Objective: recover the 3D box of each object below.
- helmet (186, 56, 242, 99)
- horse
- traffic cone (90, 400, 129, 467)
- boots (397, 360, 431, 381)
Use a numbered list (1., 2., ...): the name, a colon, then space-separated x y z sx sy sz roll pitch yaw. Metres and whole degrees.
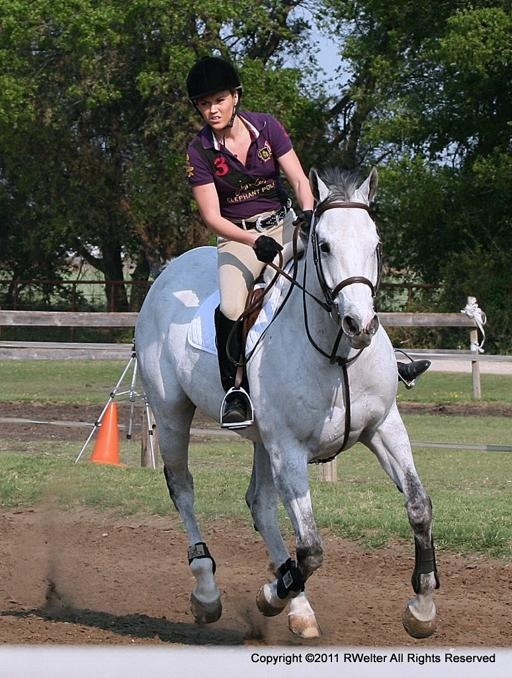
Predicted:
1. helmet: -0.228 -1.370 4.771 0.282 0.257 0.224 -2 4 -1
2. horse: 0.118 0.401 5.110 1.176 2.337 3.682 -3 2 -16
3. traffic cone: -1.567 0.990 9.488 0.436 0.570 0.474 2 20 -19
4. boots: 0.905 0.198 5.482 0.143 0.091 0.315 14 -12 -31
